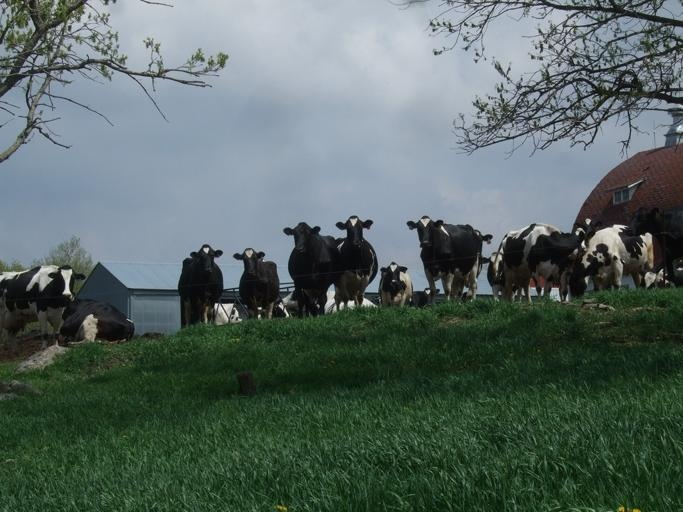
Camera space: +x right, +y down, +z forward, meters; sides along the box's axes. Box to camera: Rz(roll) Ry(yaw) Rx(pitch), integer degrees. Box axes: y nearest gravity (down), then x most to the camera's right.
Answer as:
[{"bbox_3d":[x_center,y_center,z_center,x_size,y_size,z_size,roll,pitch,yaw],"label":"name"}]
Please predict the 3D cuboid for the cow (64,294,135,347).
[{"bbox_3d":[-8.085,2.056,27.261,1.363,1.401,2.498,7,7,-41],"label":"cow"}]
